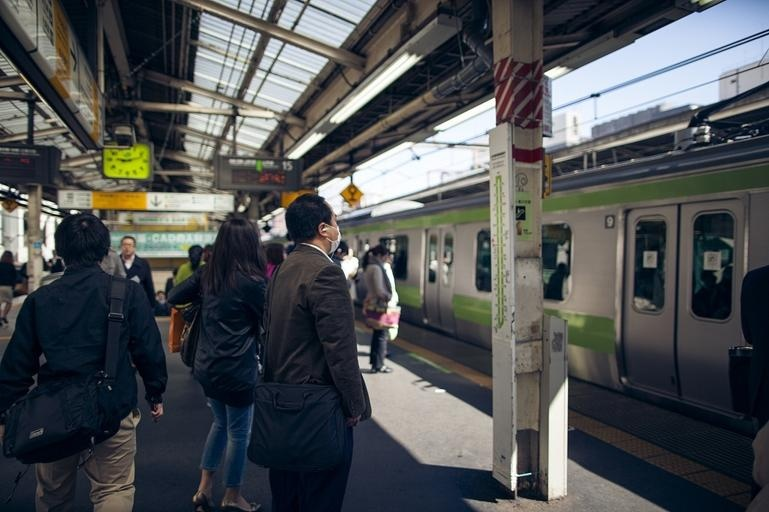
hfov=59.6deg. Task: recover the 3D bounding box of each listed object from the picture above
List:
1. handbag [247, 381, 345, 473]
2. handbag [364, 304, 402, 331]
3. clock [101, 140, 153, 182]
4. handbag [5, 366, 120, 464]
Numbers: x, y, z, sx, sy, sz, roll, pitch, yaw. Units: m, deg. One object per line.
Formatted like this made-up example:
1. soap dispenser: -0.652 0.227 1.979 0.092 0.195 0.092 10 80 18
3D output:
1. handbag: -0.755 1.483 5.848 0.880 0.782 0.562 -1 -2 8
2. handbag: -0.004 0.953 10.139 0.331 0.319 0.433 -5 -11 40
3. clock: -5.224 -1.923 13.599 0.859 0.771 0.315 0 -2 -5
4. handbag: -2.761 1.326 5.678 0.589 0.612 0.341 -16 -29 5
